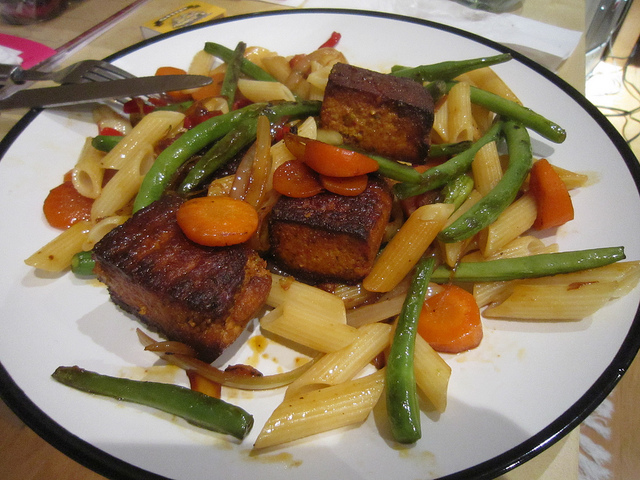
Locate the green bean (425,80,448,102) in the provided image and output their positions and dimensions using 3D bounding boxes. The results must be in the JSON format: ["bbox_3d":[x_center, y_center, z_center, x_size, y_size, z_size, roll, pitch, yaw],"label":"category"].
[{"bbox_3d":[0.984,-1.252,4.599,0.165,0.040,0.165,-28,97,-1],"label":"green bean"}]

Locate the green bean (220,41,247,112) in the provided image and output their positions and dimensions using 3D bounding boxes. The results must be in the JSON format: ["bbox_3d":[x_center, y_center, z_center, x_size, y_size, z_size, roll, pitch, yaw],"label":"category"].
[{"bbox_3d":[-0.788,-1.509,5.058,0.130,0.097,0.828,11,64,11],"label":"green bean"}]

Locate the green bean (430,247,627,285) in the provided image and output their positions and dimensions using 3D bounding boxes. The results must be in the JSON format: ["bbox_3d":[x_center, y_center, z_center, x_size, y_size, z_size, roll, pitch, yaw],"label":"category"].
[{"bbox_3d":[1.499,0.203,3.999,1.323,0.389,0.157,1,59,-3],"label":"green bean"}]

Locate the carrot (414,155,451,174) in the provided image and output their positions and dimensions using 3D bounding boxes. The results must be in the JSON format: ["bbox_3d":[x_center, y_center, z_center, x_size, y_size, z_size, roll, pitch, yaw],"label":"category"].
[{"bbox_3d":[0.921,-0.628,4.454,0.333,0.065,0.083,-27,64,-18],"label":"carrot"}]

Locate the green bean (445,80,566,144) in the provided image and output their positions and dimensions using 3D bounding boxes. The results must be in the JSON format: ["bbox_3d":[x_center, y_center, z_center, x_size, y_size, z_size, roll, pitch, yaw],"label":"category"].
[{"bbox_3d":[1.618,-1.045,4.551,1.046,0.163,0.161,18,71,-19],"label":"green bean"}]

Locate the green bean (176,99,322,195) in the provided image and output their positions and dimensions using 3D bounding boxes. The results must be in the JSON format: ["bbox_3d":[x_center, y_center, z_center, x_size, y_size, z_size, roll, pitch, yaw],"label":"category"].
[{"bbox_3d":[-0.547,-0.700,4.298,1.145,0.158,0.155,-41,78,-21],"label":"green bean"}]

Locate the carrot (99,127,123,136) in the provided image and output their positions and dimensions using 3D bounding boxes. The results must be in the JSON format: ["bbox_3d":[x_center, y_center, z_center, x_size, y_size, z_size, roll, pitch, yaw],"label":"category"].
[{"bbox_3d":[-1.849,-0.954,4.853,0.131,0.033,0.120,-1,30,-28],"label":"carrot"}]

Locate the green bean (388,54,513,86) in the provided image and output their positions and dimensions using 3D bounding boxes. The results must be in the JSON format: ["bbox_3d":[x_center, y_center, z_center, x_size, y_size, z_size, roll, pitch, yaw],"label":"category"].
[{"bbox_3d":[1.128,-1.442,4.669,0.959,0.260,0.219,0,59,-3],"label":"green bean"}]

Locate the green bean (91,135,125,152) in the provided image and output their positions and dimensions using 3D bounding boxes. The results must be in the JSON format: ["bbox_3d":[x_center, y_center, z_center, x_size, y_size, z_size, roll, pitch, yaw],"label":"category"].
[{"bbox_3d":[-1.798,-0.811,4.662,0.261,0.129,0.136,-8,60,-8],"label":"green bean"}]

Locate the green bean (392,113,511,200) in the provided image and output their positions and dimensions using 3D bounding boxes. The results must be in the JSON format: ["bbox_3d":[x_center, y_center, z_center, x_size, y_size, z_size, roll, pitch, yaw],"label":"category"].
[{"bbox_3d":[1.057,-0.593,4.410,1.355,0.405,0.227,-31,46,-17],"label":"green bean"}]

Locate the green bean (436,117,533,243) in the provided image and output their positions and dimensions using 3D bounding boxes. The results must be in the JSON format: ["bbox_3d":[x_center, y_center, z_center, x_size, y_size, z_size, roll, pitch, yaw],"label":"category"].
[{"bbox_3d":[1.359,-0.429,4.225,0.358,0.225,1.282,29,61,14],"label":"green bean"}]

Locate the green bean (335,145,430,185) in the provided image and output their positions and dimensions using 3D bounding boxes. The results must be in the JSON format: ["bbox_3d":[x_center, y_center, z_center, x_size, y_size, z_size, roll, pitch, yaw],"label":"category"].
[{"bbox_3d":[0.471,-0.563,4.152,0.642,0.101,0.141,19,63,-1],"label":"green bean"}]

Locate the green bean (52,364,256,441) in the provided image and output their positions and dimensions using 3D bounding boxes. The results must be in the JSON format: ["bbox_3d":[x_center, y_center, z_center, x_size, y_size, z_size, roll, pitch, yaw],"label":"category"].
[{"bbox_3d":[-1.110,1.049,3.674,1.355,0.099,0.205,16,59,6],"label":"green bean"}]
